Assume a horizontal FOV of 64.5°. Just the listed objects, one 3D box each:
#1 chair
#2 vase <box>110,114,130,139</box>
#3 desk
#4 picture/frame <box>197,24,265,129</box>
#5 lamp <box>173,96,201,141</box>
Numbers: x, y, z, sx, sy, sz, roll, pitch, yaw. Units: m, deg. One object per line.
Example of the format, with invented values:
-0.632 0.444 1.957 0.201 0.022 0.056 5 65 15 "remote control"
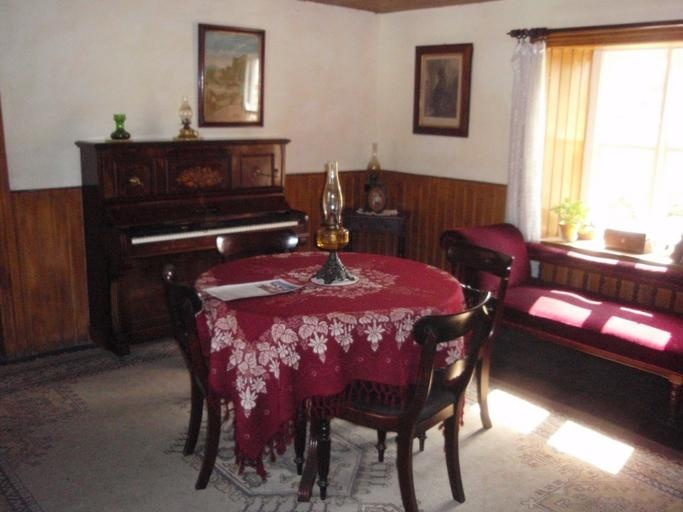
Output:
-0.034 0.642 3.155 1.675 1.480 1.265 8 16 23 "chair"
-1.817 -1.044 4.408 0.133 0.206 0.212 -6 16 -25 "vase"
0.367 -0.356 5.860 0.711 0.745 0.486 3 7 10 "desk"
-1.066 -1.716 5.086 0.879 1.239 0.051 -9 24 -34 "picture/frame"
-1.373 -1.209 4.773 0.189 0.348 0.443 -3 15 -16 "lamp"
